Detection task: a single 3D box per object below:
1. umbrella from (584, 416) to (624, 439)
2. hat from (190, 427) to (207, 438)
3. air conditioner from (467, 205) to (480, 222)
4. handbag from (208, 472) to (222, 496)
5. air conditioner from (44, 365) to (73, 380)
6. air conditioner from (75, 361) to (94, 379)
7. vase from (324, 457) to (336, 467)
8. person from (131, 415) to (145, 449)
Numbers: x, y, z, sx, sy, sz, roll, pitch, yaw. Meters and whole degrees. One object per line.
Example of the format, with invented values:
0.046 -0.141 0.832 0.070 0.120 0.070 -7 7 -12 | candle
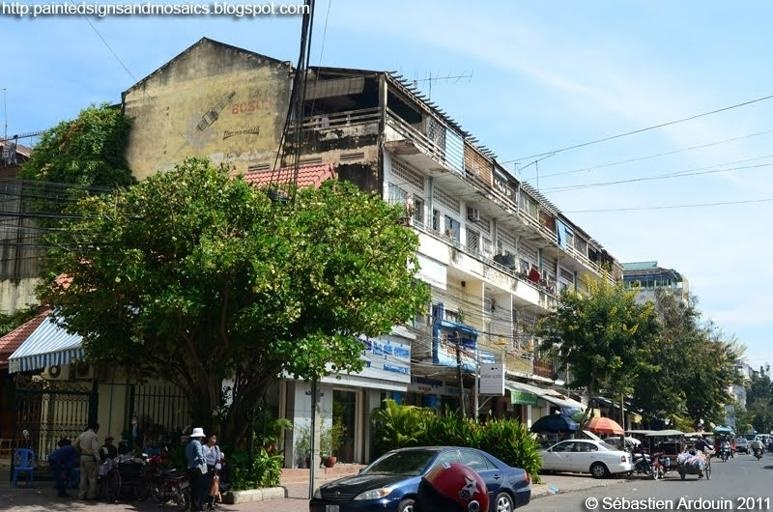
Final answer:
10.947 8.490 46.496 1.239 0.832 2.126 -12 -20 39 | umbrella
-5.956 5.581 29.144 0.450 0.296 0.542 4 -11 -9 | hat
4.604 -2.196 48.678 0.285 0.712 0.711 -10 -17 26 | air conditioner
-5.454 7.258 29.297 0.303 0.807 0.759 -1 -10 -2 | handbag
-12.671 4.572 35.913 0.763 0.773 0.190 4 -2 4 | air conditioner
-11.609 4.490 35.410 1.034 0.552 0.370 -10 -17 33 | air conditioner
-2.301 8.465 37.848 0.392 0.324 0.411 0 -10 -5 | vase
-9.178 6.520 34.178 0.402 1.211 0.741 2 -14 -4 | person
